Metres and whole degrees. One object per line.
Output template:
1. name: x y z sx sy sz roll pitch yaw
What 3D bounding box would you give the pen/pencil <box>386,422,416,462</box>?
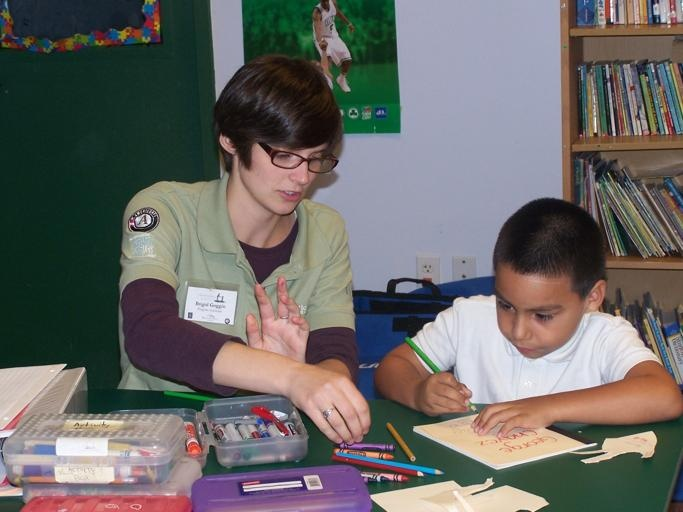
1. pen/pencil: 0.125 0.397 1.214 0.018 0.020 0.163 -8 20 -11

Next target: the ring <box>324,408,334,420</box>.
1. ring: -0.029 0.329 1.175 0.015 0.023 0.008 -4 -4 29

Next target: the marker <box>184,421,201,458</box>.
1. marker: -0.306 0.365 1.161 0.018 0.086 0.020 13 14 43

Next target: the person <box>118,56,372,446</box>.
1. person: -0.245 0.026 1.512 0.558 1.204 0.575 -6 8 -35
